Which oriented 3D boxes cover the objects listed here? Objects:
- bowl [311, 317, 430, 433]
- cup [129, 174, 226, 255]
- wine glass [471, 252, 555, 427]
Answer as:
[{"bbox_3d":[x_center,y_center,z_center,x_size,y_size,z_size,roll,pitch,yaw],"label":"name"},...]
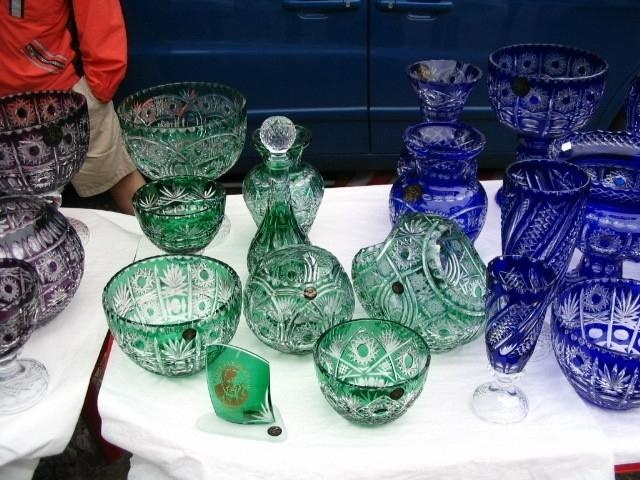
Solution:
[{"bbox_3d":[0.080,0.210,0.852,0.172,0.101,0.171,-1,32,1],"label":"bowl"},{"bbox_3d":[-0.292,-0.062,1.093,0.176,0.117,0.179,0,35,0],"label":"cup"},{"bbox_3d":[0.303,0.160,0.822,0.106,0.238,0.168,10,43,11],"label":"wine glass"}]
